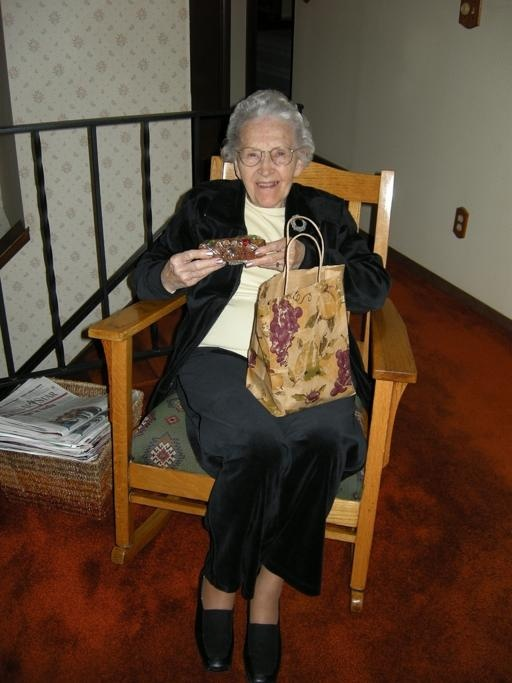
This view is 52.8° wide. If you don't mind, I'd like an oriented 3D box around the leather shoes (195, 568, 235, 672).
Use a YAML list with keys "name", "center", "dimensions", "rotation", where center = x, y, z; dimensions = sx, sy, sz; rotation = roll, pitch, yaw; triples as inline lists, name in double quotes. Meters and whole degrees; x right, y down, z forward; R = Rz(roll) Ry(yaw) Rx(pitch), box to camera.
- name: "leather shoes"
  center: [-0.080, 0.540, 0.989]
  dimensions: [0.051, 0.156, 0.046]
  rotation: [0, -2, -7]

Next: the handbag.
- name: "handbag"
  center: [0.083, 0.005, 0.927]
  dimensions: [0.214, 0.321, 0.143]
  rotation: [-16, 37, -23]
